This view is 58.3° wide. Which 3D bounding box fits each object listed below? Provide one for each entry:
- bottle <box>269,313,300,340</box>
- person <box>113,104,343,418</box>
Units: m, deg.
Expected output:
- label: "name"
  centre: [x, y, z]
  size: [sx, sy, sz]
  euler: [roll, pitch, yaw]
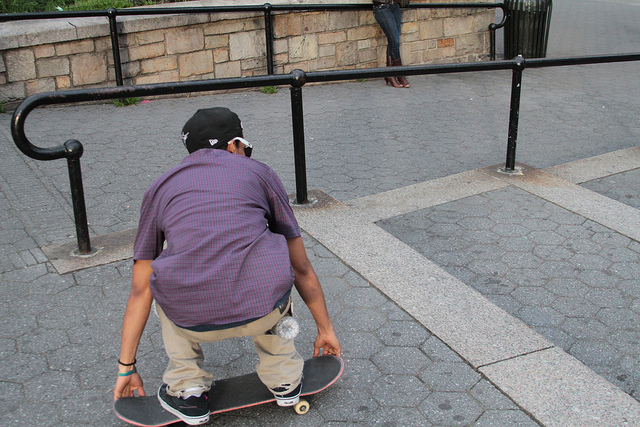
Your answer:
- label: "bottle"
  centre: [-0.218, 0.707, 3.689]
  size: [0.156, 0.147, 0.161]
  euler: [-27, 29, -17]
- label: "person"
  centre: [-0.615, 0.416, 3.590]
  size: [1.079, 1.916, 0.792]
  euler: [-23, 29, -38]
